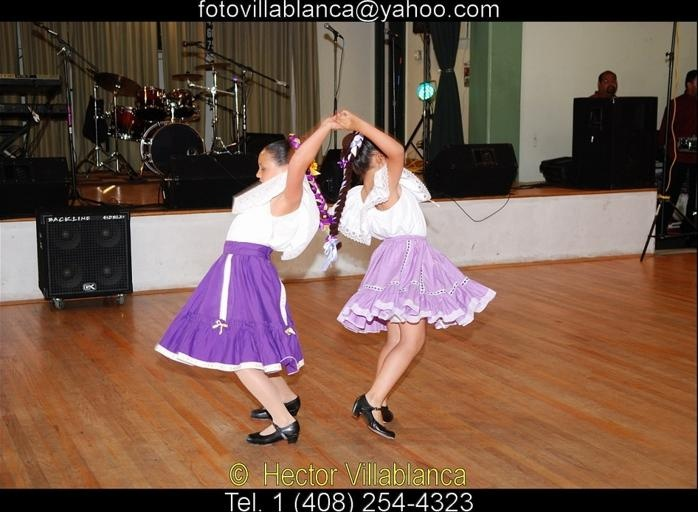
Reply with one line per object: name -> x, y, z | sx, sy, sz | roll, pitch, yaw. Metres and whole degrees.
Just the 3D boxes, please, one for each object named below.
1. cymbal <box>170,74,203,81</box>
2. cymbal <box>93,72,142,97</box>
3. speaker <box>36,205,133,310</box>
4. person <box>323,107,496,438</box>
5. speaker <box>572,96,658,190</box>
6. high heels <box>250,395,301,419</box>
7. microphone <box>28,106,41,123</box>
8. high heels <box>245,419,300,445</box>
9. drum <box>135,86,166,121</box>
cymbal -> -2.194, -2.455, 6.928 | 0.347, 0.097, 0.359 | -2, 13, -4
cymbal -> -2.912, -2.183, 6.461 | 0.529, 0.236, 0.534 | -4, 13, -12
speaker -> -2.027, -0.007, 4.382 | 0.907, 1.047, 0.715 | -2, 4, -25
person -> 0.247, 0.084, 2.237 | 0.682, 1.389, 0.479 | 2, 13, 12
speaker -> 2.901, -1.244, 5.607 | 0.867, 0.977, 0.401 | 6, 14, 27
high heels -> -0.325, 0.698, 2.376 | 0.267, 0.120, 0.101 | 1, 2, -3
microphone -> -2.756, -1.254, 4.478 | 0.095, 0.145, 0.053 | -31, -30, 7
high heels -> -0.300, 0.726, 2.170 | 0.251, 0.118, 0.095 | 2, -2, 6
drum -> -2.438, -1.848, 6.265 | 0.359, 0.291, 0.368 | -1, 1, 0
